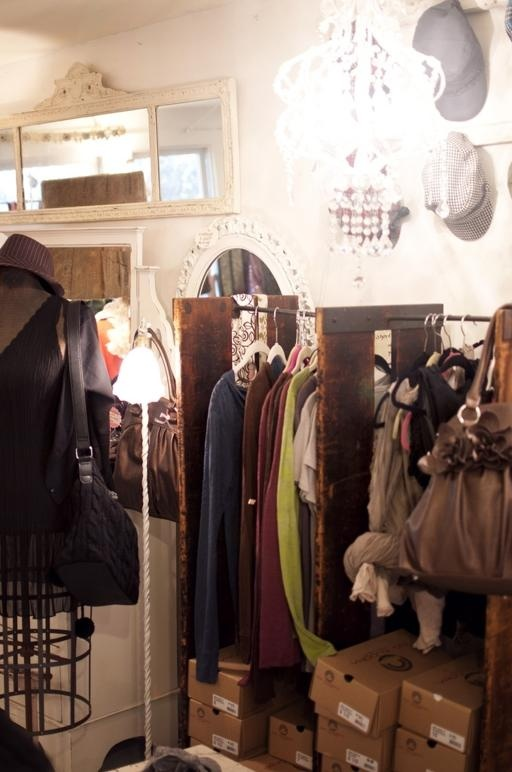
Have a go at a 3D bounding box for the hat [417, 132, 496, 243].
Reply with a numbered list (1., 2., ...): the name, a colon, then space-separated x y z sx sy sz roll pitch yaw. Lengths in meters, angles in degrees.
1. hat: 0.731 -0.736 2.313 0.232 0.383 0.106 -17 11 40

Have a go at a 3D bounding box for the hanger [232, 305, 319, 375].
1. hanger: 0.056 -0.171 2.346 0.133 0.280 0.235 4 7 41

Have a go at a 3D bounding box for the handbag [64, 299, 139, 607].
1. handbag: -0.433 0.192 1.737 0.198 0.852 0.159 -2 3 -9

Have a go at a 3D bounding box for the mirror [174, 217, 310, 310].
1. mirror: -0.096 -0.612 3.233 0.862 0.496 0.070 1 3 35

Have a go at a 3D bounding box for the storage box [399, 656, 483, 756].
1. storage box: 0.498 0.774 1.687 0.135 0.072 0.281 4 4 25

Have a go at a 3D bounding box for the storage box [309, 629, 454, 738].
1. storage box: 0.368 0.826 1.868 0.297 0.119 0.224 -7 7 -42
